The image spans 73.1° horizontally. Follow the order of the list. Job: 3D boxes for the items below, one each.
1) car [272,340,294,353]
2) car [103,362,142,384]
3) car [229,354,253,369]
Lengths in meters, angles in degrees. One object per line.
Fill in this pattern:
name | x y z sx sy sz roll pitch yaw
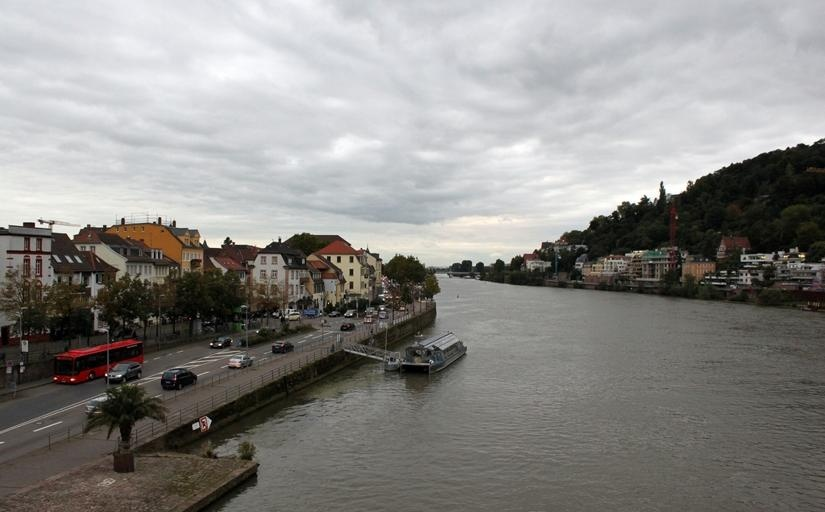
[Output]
car | -17.507 12.255 75.352 1.469 0.884 2.249 1 4 16
car | -31.350 12.673 60.799 2.136 1.746 3.500 7 10 17
car | -20.525 12.599 66.742 1.400 0.872 2.805 1 2 7
